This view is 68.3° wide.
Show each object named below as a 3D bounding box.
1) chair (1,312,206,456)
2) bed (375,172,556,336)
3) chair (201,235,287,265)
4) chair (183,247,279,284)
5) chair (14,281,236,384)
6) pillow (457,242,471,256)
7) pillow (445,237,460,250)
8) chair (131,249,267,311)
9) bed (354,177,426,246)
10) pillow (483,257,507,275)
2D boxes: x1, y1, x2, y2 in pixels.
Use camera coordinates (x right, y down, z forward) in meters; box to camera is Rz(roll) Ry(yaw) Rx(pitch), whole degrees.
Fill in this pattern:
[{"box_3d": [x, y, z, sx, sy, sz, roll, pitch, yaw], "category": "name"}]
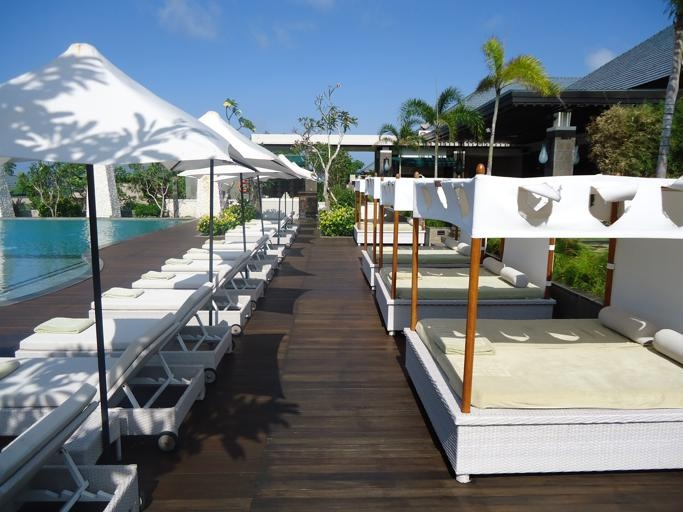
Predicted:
[{"box_3d": [-2.097, 1.137, 4.512, 1.621, 0.697, 0.935, 2, 9, 0], "category": "chair"}, {"box_3d": [1.520, 0.075, 6.267, 1.928, 2.237, 2.691, 1, 6, -2], "category": "bed"}, {"box_3d": [-2.072, -0.147, 10.607, 1.193, 0.483, 0.873, 4, 8, 0], "category": "chair"}, {"box_3d": [-2.020, 0.109, 9.565, 1.198, 0.470, 0.881, 4, 11, 1], "category": "chair"}, {"box_3d": [-2.202, 0.735, 6.192, 1.542, 0.638, 0.915, 12, 2, -9], "category": "chair"}, {"box_3d": [2.221, -0.124, 9.134, 0.127, 0.118, 0.273, -14, 8, 0], "category": "pillow"}, {"box_3d": [2.201, -0.251, 10.049, 0.212, 0.219, 0.262, 31, 6, -20], "category": "pillow"}, {"box_3d": [-2.135, 0.337, 8.010, 1.173, 0.576, 1.187, 4, 11, 2], "category": "chair"}, {"box_3d": [0.945, -0.860, 10.390, 1.332, 1.703, 2.398, 0, 7, 0], "category": "bed"}, {"box_3d": [2.401, 0.139, 7.849, 0.209, 0.197, 0.423, -16, 12, -6], "category": "pillow"}]
